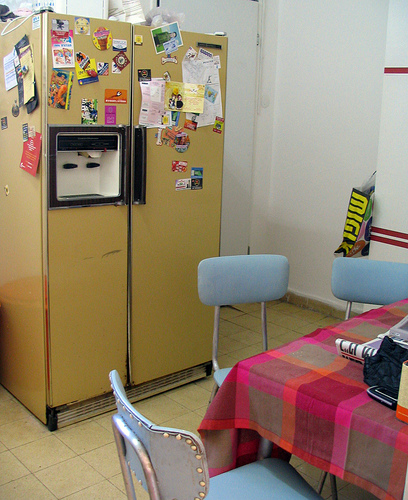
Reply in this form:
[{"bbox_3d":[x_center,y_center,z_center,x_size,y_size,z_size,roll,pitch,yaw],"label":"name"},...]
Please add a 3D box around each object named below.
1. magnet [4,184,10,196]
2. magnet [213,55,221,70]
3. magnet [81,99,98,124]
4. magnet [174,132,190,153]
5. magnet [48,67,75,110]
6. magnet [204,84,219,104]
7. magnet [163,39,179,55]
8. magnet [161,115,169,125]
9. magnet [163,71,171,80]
[{"bbox_3d":[-1.017,-0.310,2.170,0.021,0.068,0.026,-6,6,-12],"label":"magnet"},{"bbox_3d":[0.068,-1.052,2.355,0.010,0.089,0.062,13,24,38],"label":"magnet"},{"bbox_3d":[-0.538,-0.648,1.959,0.020,0.135,0.088,20,25,35],"label":"magnet"},{"bbox_3d":[-0.119,-0.592,2.312,0.021,0.097,0.095,16,20,40],"label":"magnet"},{"bbox_3d":[-0.631,-0.709,1.857,0.115,0.161,0.026,-10,11,-44],"label":"magnet"},{"bbox_3d":[0.037,-0.880,2.367,0.013,0.073,0.098,17,32,37],"label":"magnet"},{"bbox_3d":[-0.177,-1.045,2.161,0.083,0.061,0.012,-34,45,-12],"label":"magnet"},{"bbox_3d":[-0.206,-0.685,2.225,0.045,0.046,0.017,-6,11,-42],"label":"magnet"},{"bbox_3d":[-0.197,-0.904,2.187,0.032,0.034,0.009,3,7,-35],"label":"magnet"}]
